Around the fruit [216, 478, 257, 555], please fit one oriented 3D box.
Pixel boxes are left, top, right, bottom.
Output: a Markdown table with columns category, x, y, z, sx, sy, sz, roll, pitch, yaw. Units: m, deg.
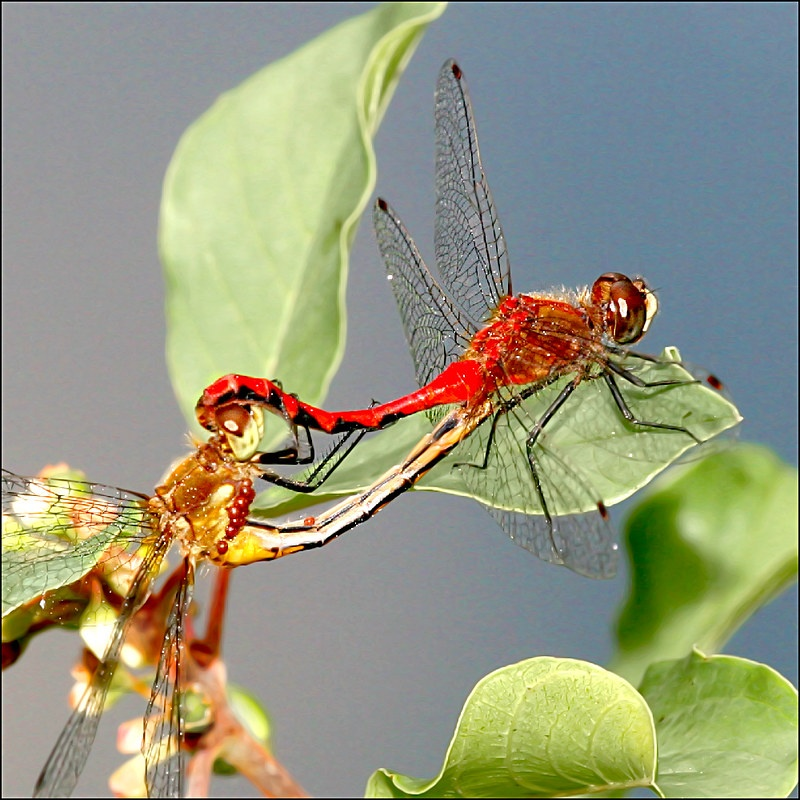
| category | x | y | z | sx | sy | sz | roll | pitch | yaw |
| --- | --- | --- | --- | --- | --- | --- | --- | --- | --- |
| fruit | -0.234 | 0.165 | 1.607 | 0.032 | 0.151 | 0.055 | 15 | -5 | -23 |
